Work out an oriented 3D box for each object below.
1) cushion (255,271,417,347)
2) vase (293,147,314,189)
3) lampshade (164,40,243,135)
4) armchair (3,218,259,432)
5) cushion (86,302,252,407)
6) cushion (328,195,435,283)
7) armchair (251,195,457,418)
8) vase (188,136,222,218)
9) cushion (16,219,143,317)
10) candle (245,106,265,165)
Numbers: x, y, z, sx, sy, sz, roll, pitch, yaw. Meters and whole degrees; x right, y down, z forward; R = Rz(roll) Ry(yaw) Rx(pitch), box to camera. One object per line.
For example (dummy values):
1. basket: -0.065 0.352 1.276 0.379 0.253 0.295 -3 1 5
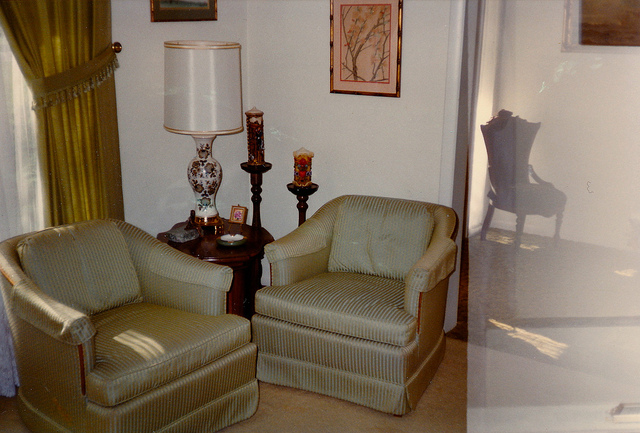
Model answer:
1. cushion: 0.123 0.449 2.971 0.852 0.164 0.442 9 20 22
2. vase: -0.111 -0.311 3.512 0.115 0.243 0.157 1 18 -2
3. lampshade: -0.602 -0.772 3.340 0.488 0.548 0.503 2 13 2
4. armchair: -0.865 0.535 2.725 1.062 0.969 1.061 11 17 35
5. cushion: -0.735 0.580 2.583 0.744 0.177 0.483 -12 22 -35
6. cushion: 0.349 0.129 3.148 0.516 0.485 0.122 8 -2 29
7. armchair: 0.215 0.450 3.285 1.077 1.054 1.087 8 18 25
8. vase: -0.693 -0.238 3.373 0.169 0.533 0.167 10 20 25
9. cushion: -1.120 0.251 2.618 0.110 0.443 0.465 -26 -2 36
10. candle: -0.415 -0.513 3.579 0.110 0.346 0.107 -1 18 -9
